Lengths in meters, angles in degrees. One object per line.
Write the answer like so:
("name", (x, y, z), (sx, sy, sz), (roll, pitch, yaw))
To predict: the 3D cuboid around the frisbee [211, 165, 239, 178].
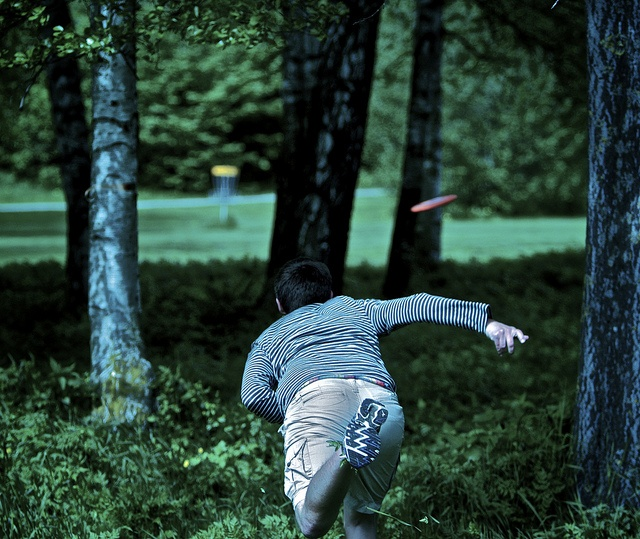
("frisbee", (-1.488, -1.531, 16.158), (0.429, 0.199, 0.213), (-2, 5, -6))
